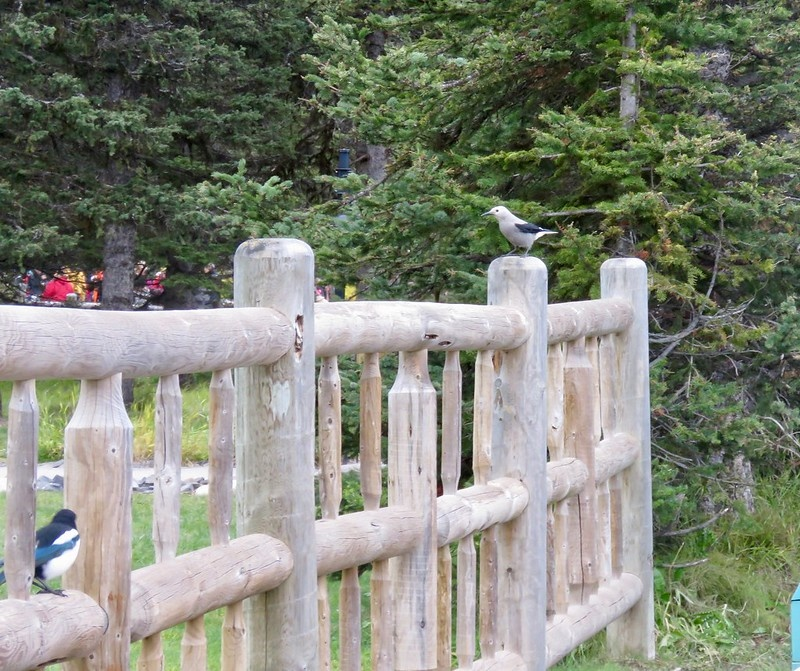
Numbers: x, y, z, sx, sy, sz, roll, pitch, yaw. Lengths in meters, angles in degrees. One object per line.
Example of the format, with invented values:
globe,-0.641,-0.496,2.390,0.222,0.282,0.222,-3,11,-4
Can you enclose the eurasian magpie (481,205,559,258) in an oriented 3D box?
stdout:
eurasian magpie,0.903,-0.768,14.078,0.549,0.378,0.192,-7,4,-23

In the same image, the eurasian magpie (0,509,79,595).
eurasian magpie,-2.146,1.245,11.239,0.539,0.593,0.328,-1,3,-23
